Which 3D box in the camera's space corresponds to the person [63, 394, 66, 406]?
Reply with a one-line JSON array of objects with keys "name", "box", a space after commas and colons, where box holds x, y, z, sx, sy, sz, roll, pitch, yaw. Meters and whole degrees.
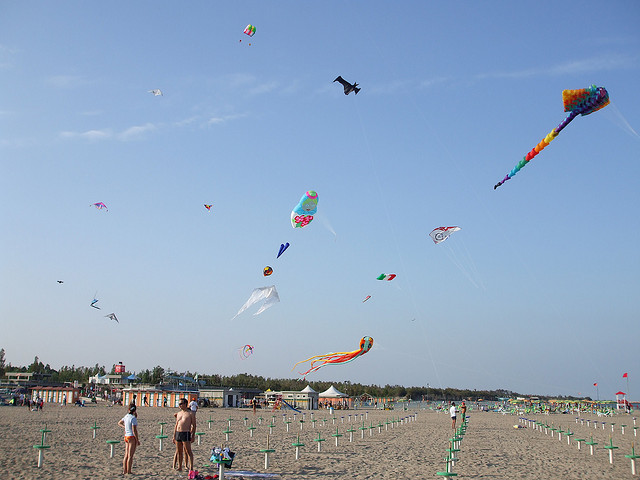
[{"name": "person", "box": [-33.528, 20.834, 75.687, 0.211, 0.996, 0.551, 12, -23, -32]}]

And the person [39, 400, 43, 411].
[{"name": "person", "box": [-27.734, 16.532, 57.174, 0.300, 0.975, 2.126, 8, -22, -24]}]

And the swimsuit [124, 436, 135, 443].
[{"name": "swimsuit", "box": [-7.559, 7.946, 22.846, 0.339, 0.312, 0.371, 1, 1, -39]}]

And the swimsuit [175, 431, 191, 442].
[{"name": "swimsuit", "box": [-5.451, 7.801, 22.778, 0.658, 0.401, 0.324, -1, -20, 1]}]

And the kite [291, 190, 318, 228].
[{"name": "kite", "box": [-0.911, -1.864, 34.076, 1.574, 0.794, 2.923, 3, -42, -26]}]

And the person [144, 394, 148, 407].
[{"name": "person", "box": [-22.157, 20.406, 73.271, 0.402, 1.487, 1.081, 8, -21, -22]}]
